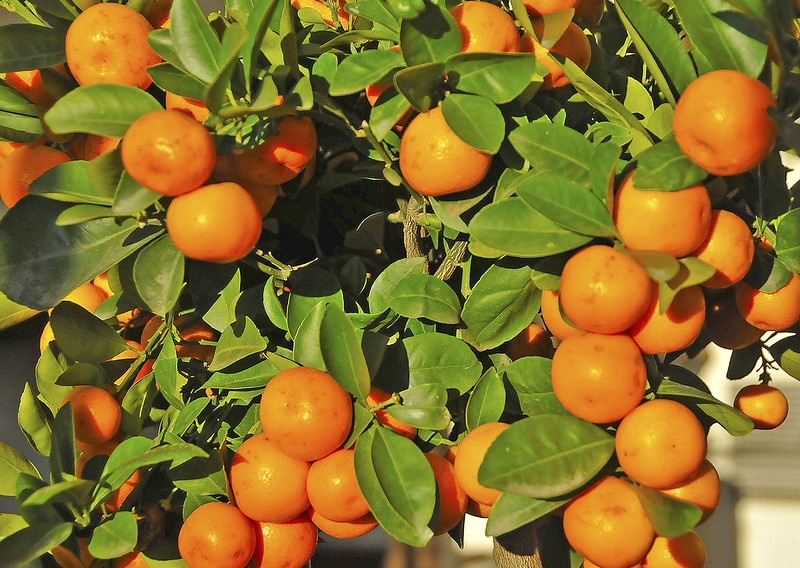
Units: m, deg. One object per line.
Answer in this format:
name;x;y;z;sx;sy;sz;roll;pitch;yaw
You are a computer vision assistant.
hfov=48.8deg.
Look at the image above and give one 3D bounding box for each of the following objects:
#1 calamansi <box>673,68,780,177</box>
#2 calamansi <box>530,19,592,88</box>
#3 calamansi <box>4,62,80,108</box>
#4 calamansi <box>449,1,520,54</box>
calamansi;0.447;-0.218;1.224;0.132;0.142;0.126;16;-23;-7
calamansi;0.244;-0.351;1.364;0.087;0.092;0.085;-26;30;-20
calamansi;-0.544;-0.284;1.345;0.073;0.053;0.071;-11;13;47
calamansi;0.122;-0.355;1.286;0.098;0.090;0.087;1;-20;-1
